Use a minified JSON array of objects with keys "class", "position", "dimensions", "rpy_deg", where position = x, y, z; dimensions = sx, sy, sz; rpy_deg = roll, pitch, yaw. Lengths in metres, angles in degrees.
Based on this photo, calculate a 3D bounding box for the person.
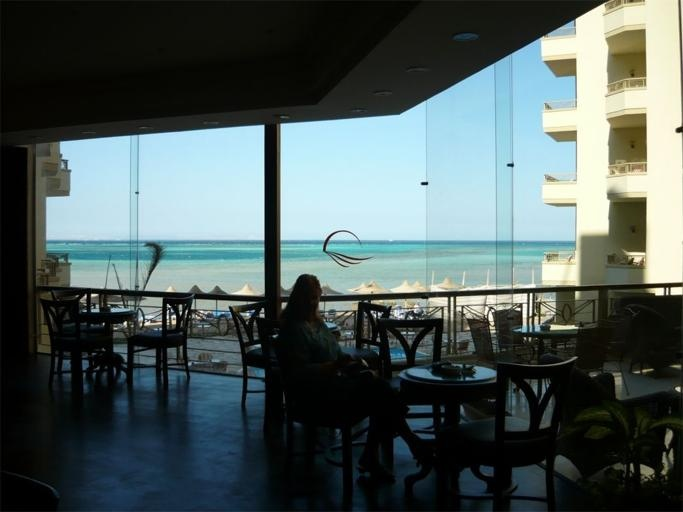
[{"class":"person","position":[0.039,0.953,4.791],"dimensions":[1.080,1.541,0.455],"rpy_deg":[6,11,40]}]
